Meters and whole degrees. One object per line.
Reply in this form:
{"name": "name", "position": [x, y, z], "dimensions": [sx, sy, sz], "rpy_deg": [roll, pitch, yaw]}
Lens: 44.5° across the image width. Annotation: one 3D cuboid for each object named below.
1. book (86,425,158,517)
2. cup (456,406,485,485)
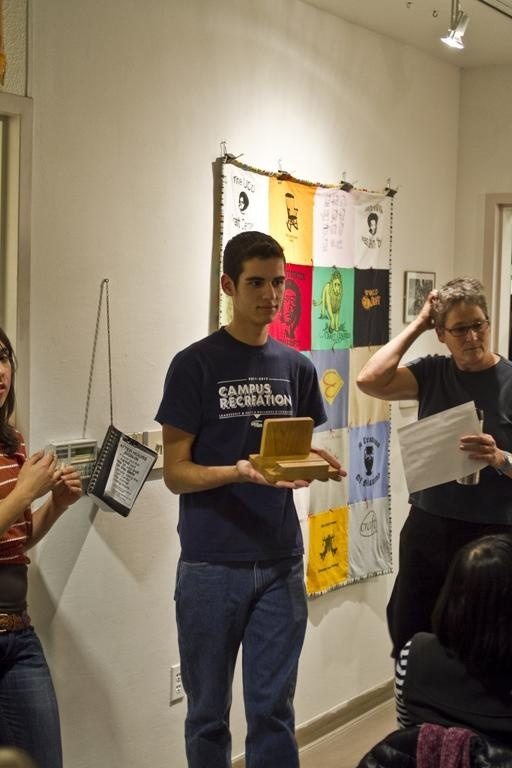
{"name": "book", "position": [-0.407, 0.271, 1.871], "dimensions": [0.048, 0.297, 0.265], "rpy_deg": [7, 23, 26]}
{"name": "cup", "position": [0.631, 0.179, 1.856], "dimensions": [0.079, 0.284, 0.071], "rpy_deg": [-8, 38, 10]}
